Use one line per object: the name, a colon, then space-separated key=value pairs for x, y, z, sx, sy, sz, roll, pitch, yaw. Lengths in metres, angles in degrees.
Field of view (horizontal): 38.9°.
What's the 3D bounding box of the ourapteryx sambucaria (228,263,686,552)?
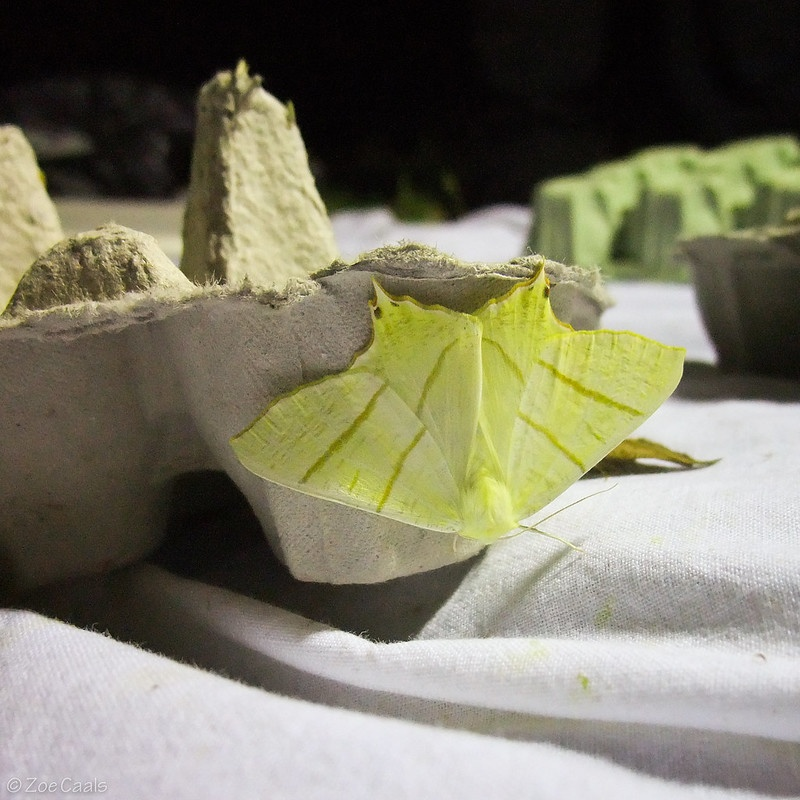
ourapteryx sambucaria: x=0.054 y=0.010 z=0.880 sx=0.372 sy=0.198 sz=0.037 roll=-11 pitch=-5 yaw=-21
